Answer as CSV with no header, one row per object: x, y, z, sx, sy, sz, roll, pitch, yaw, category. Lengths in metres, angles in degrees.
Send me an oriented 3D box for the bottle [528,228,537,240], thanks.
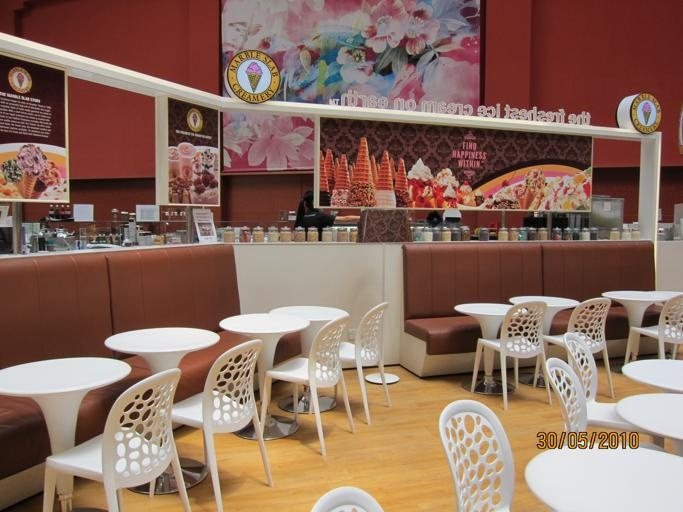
2.591,-0.301,7.043,0.130,0.170,0.134,0,8,0,bottle

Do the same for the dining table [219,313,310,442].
-0.648,1.084,4.760,0.871,1.130,0.939,1,1,-12,dining table

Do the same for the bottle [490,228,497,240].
2.062,-0.305,7.034,0.098,0.149,0.140,2,10,14,bottle

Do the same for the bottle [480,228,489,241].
1.887,-0.296,6.920,0.126,0.210,0.140,0,8,6,bottle

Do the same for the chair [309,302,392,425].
0.091,0.908,5.223,0.823,1.601,0.796,3,6,23,chair

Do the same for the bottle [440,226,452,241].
1.338,-0.284,6.639,0.129,0.171,0.139,1,8,0,bottle

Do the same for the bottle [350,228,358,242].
0.149,-0.262,6.399,0.123,0.161,0.133,2,8,0,bottle

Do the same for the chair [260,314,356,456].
-0.219,0.986,4.748,0.784,1.119,1.105,4,10,23,chair

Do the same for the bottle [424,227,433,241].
1.105,-0.280,6.613,0.127,0.166,0.095,-2,9,-12,bottle

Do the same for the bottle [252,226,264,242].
-0.985,-0.266,6.183,0.132,0.163,0.200,-2,10,-12,bottle

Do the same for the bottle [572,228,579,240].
3.239,-0.309,7.220,0.116,0.139,0.088,0,9,-1,bottle

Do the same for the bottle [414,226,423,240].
0.974,-0.294,6.613,0.127,0.255,0.137,2,0,0,bottle

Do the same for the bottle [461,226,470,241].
1.652,-0.326,6.933,0.101,0.186,0.522,2,10,13,bottle

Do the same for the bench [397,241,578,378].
1.559,0.390,6.521,2.551,1.973,1.287,-1,1,-19,bench

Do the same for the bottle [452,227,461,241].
1.471,-0.282,6.682,0.132,0.176,0.143,1,7,0,bottle

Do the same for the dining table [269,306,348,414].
-0.319,1.000,5.318,0.835,1.071,0.891,0,4,-6,dining table

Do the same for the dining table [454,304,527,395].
1.546,0.928,5.730,0.753,0.979,0.803,-2,6,-3,dining table

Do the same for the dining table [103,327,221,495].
-1.204,1.171,4.267,0.960,1.292,1.055,1,4,5,dining table

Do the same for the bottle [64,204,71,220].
-4.072,-0.669,7.785,0.128,0.212,0.561,-5,11,-28,bottle

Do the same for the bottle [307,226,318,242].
-0.333,-0.256,6.163,0.124,0.162,0.133,1,2,0,bottle

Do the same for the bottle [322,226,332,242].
-0.173,-0.271,6.293,0.129,0.175,0.120,2,1,0,bottle

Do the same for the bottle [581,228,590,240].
3.378,-0.306,7.207,0.112,0.222,0.115,-1,8,0,bottle

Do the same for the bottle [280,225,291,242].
-0.664,-0.276,6.175,0.132,0.173,0.142,1,1,0,bottle

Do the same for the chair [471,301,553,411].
1.800,0.909,5.305,0.683,1.099,0.770,9,13,43,chair

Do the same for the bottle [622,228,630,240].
4.035,-0.318,7.393,0.133,0.173,0.142,0,7,0,bottle

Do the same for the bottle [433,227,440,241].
1.220,-0.282,6.634,0.115,0.218,0.125,1,5,0,bottle

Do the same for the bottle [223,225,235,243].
-1.288,-0.269,6.105,0.138,0.246,0.152,0,0,0,bottle

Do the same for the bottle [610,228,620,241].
3.876,-0.318,7.360,0.137,0.147,0.187,7,12,35,bottle

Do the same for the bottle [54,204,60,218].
-4.341,-0.701,7.954,0.088,0.169,0.540,-5,11,-29,bottle

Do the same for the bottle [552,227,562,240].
2.970,-0.315,7.185,0.130,0.202,0.140,0,12,0,bottle

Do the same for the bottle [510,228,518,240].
2.336,-0.299,6.990,0.129,0.167,0.130,0,7,0,bottle

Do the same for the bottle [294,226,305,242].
-0.485,-0.262,6.145,0.133,0.175,0.144,1,9,0,bottle

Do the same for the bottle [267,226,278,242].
-0.800,-0.252,6.103,0.141,0.179,0.146,2,3,0,bottle

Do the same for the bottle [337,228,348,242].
0.018,-0.252,6.237,0.121,0.147,0.130,1,5,-6,bottle
